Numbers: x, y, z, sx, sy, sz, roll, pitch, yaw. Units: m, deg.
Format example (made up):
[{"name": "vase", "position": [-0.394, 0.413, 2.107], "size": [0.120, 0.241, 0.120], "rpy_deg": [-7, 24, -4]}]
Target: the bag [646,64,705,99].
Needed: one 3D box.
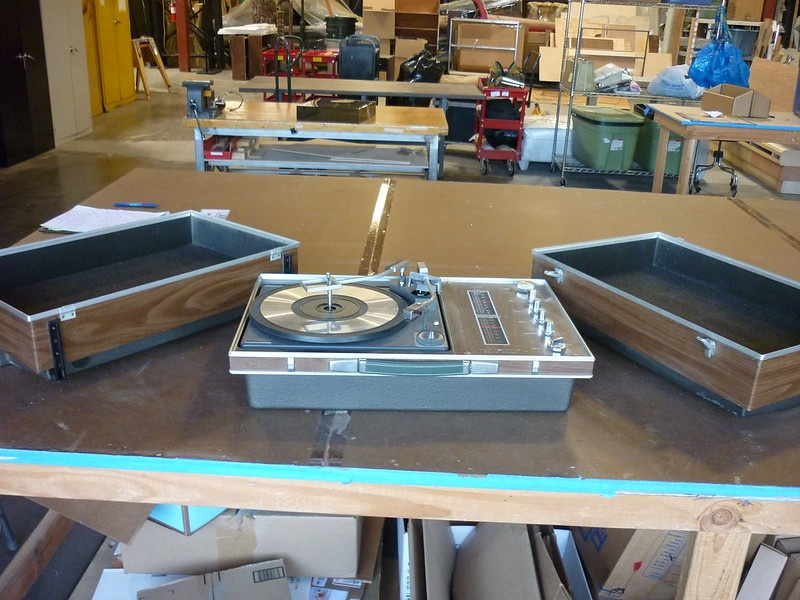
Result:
[{"name": "bag", "position": [2.644, -2.071, 6.131], "size": [0.371, 0.147, 0.467], "rpy_deg": [12, 36, 23]}]

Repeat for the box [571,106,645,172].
[{"name": "box", "position": [1.981, -1.645, 6.494], "size": [0.608, 0.470, 0.783], "rpy_deg": [-2, 26, -8]}]

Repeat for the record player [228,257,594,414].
[{"name": "record player", "position": [0.034, 0.061, 1.226], "size": [0.642, 0.215, 0.335], "rpy_deg": [0, 24, -1]}]

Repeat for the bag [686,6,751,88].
[{"name": "bag", "position": [2.997, -2.303, 5.837], "size": [0.526, 0.734, 0.551], "rpy_deg": [-2, 26, -4]}]

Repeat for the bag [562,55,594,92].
[{"name": "bag", "position": [1.750, -2.202, 6.254], "size": [0.307, 0.312, 0.703], "rpy_deg": [6, 24, 12]}]
